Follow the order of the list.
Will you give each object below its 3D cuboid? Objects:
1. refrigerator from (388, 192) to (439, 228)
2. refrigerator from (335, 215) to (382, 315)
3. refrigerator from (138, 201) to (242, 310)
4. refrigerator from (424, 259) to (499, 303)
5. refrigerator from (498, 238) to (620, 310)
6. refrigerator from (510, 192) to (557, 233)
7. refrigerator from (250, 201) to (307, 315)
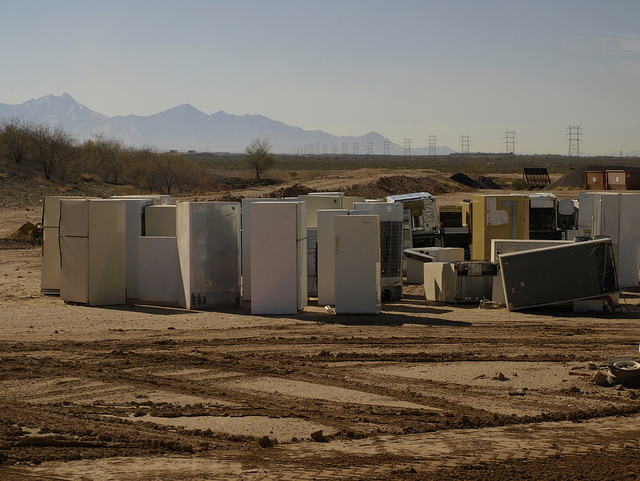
[{"bbox_3d":[3.024,-0.938,29.485,1.236,1.284,0.883,-14,7,-4],"label":"refrigerator"},{"bbox_3d":[0.842,0.584,22.078,0.989,2.340,0.280,0,7,0],"label":"refrigerator"},{"bbox_3d":[-2.890,0.289,23.848,2.527,2.525,2.110,3,5,34],"label":"refrigerator"},{"bbox_3d":[3.479,0.897,23.939,1.164,0.815,1.220,-1,2,-18],"label":"refrigerator"},{"bbox_3d":[5.808,0.662,22.908,2.747,1.332,1.630,-9,9,21],"label":"refrigerator"},{"bbox_3d":[6.659,-0.889,29.670,1.218,1.201,0.939,-3,17,-2],"label":"refrigerator"},{"bbox_3d":[-1.055,0.430,22.302,1.155,2.648,0.420,-1,7,-10],"label":"refrigerator"}]
